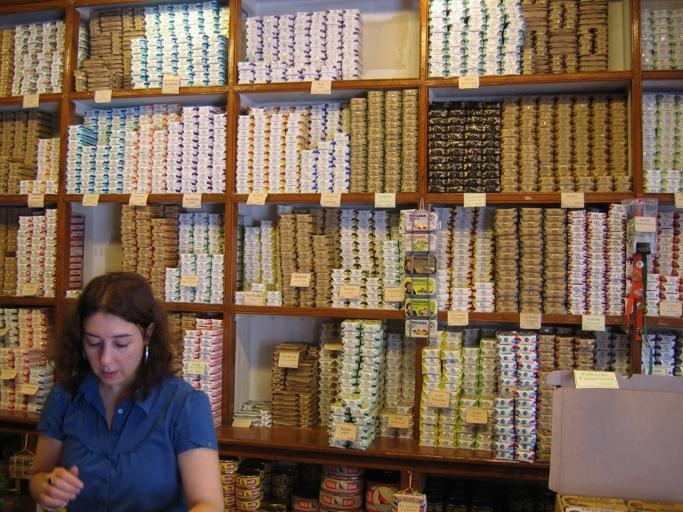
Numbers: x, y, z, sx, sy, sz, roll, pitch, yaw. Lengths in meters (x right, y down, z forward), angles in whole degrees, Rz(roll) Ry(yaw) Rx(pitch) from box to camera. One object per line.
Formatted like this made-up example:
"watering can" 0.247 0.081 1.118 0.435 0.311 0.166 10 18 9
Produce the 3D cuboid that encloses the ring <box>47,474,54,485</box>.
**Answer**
"ring" -1.256 0.958 2.835 0.022 0.043 0.077 2 -2 -27
